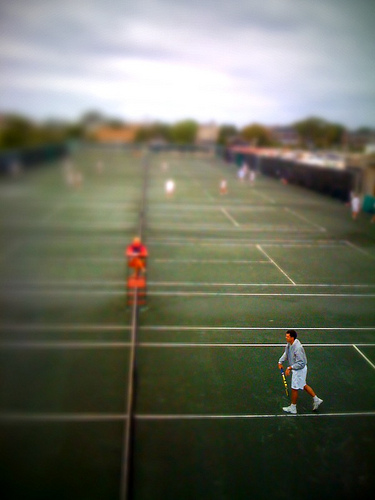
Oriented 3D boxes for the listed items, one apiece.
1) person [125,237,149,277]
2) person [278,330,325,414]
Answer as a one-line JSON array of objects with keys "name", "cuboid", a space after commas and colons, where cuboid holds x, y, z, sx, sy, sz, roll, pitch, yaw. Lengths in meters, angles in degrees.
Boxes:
[{"name": "person", "cuboid": [-0.888, 0.147, 7.857, 0.394, 0.757, 0.325, -1, 13, -17]}, {"name": "person", "cuboid": [1.500, 1.440, 5.830, 0.576, 1.008, 1.048, 4, 13, 12]}]
